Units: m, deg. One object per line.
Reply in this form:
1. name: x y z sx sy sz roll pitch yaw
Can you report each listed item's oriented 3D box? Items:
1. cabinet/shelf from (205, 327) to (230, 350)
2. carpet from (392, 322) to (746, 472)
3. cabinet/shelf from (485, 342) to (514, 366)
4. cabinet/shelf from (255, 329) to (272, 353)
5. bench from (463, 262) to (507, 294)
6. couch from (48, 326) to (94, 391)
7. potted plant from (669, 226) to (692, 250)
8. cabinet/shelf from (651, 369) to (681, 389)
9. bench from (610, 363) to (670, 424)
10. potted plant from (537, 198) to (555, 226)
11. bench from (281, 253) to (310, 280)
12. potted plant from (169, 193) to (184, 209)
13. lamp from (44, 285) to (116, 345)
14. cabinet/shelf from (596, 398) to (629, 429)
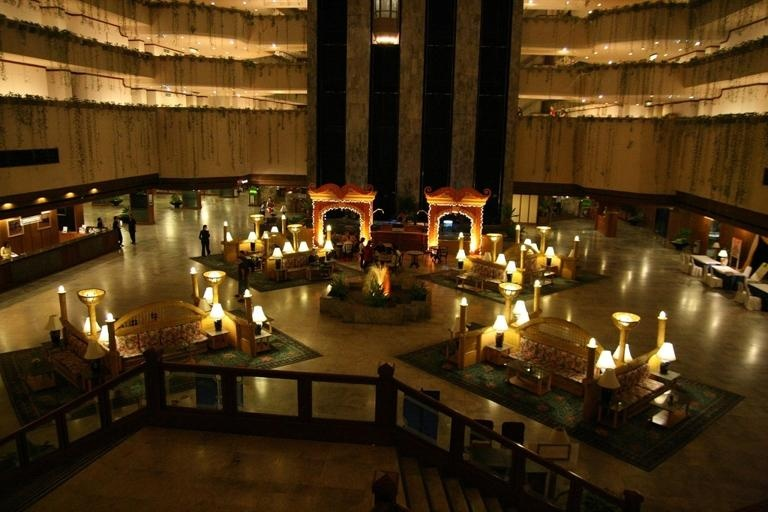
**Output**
1. cabinet/shelf: -4.875 2.327 15.677 0.610 0.405 0.584 -11 24 -34
2. carpet: 5.114 3.695 13.632 2.956 0.023 4.092 -10 16 -41
3. cabinet/shelf: 3.197 2.713 15.246 0.614 0.532 0.597 -8 13 -36
4. cabinet/shelf: -3.492 2.432 15.533 0.623 0.509 0.557 -5 16 -24
5. bench: 3.691 0.758 20.906 0.772 1.070 1.728 -14 18 -41
6. couch: -8.005 2.668 13.851 1.132 1.507 1.620 -6 15 -26
7. potted plant: 14.886 -0.789 27.333 0.528 1.075 0.833 -8 15 -23
8. cabinet/shelf: 7.121 3.079 13.907 0.482 0.435 0.477 6 15 34
9. bench: 6.136 3.369 13.227 1.418 0.509 0.483 -15 22 -32
10. potted plant: 10.185 -2.881 34.752 0.870 1.582 2.345 2 13 14
11. bench: -3.620 0.394 21.702 1.415 1.007 0.370 -12 17 -39
12. potted plant: -14.161 -3.630 36.821 0.701 0.872 1.068 -6 14 -20
13. lamp: -8.434 1.533 14.574 1.834 1.918 1.582 -4 16 -16
14. cabinet/shelf: 5.340 3.680 12.823 0.594 0.632 0.472 3 14 17
